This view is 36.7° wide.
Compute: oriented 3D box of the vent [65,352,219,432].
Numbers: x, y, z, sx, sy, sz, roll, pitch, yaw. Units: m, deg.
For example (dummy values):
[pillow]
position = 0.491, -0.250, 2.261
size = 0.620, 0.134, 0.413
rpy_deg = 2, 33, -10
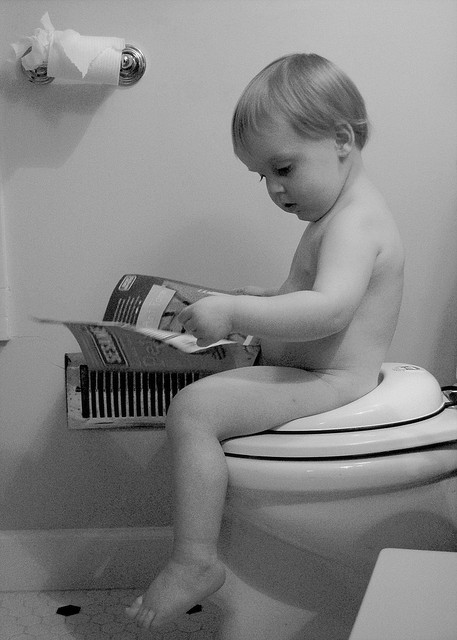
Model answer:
[vent]
position = -0.099, 0.105, 0.994
size = 0.234, 0.087, 0.116
rpy_deg = -1, -4, 12

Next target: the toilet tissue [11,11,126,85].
[toilet tissue]
position = -0.222, -0.364, 0.939
size = 0.138, 0.090, 0.138
rpy_deg = 0, 22, -19

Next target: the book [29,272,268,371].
[book]
position = -0.102, 0.015, 0.861
size = 0.214, 0.060, 0.156
rpy_deg = 0, -15, -9
